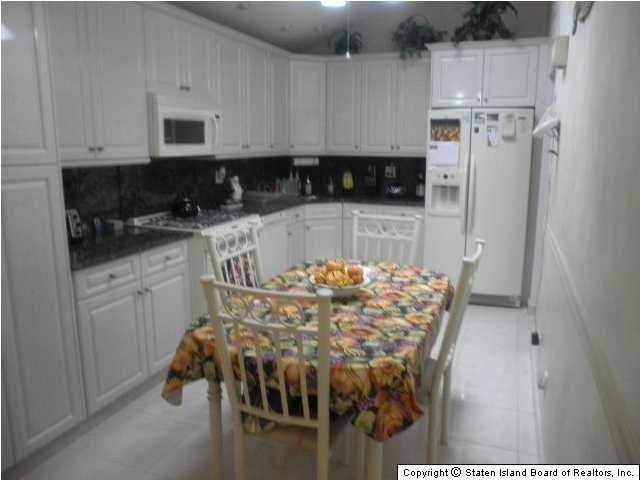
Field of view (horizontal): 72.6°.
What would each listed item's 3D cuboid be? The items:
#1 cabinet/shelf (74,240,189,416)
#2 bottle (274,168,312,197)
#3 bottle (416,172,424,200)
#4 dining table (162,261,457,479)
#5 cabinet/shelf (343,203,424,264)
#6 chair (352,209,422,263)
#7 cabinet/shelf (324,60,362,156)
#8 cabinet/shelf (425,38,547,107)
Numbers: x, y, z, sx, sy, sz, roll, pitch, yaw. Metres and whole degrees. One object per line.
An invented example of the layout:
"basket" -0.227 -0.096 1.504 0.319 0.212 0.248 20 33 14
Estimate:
"cabinet/shelf" -1.163 0.542 2.637 0.502 0.906 0.873 2 11 18
"bottle" -0.303 -0.691 5.254 0.445 0.317 0.403 -1 12 -1
"bottle" 1.139 -0.609 4.925 0.087 0.283 0.175 1 12 10
"dining table" -0.013 0.612 1.951 0.846 0.311 1.246 3 9 21
"cabinet/shelf" 0.625 -0.074 4.061 0.566 0.671 0.245 2 4 22
"chair" 0.628 -0.037 3.924 0.419 0.766 0.437 4 9 20
"cabinet/shelf" 0.274 -1.464 4.827 0.378 0.999 0.108 1 12 7
"cabinet/shelf" 1.576 -1.541 4.015 0.629 0.399 0.224 4 10 21
